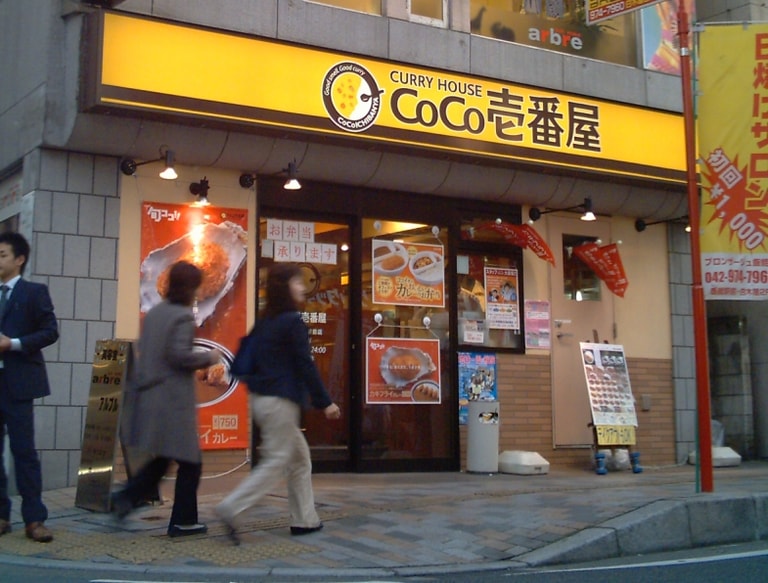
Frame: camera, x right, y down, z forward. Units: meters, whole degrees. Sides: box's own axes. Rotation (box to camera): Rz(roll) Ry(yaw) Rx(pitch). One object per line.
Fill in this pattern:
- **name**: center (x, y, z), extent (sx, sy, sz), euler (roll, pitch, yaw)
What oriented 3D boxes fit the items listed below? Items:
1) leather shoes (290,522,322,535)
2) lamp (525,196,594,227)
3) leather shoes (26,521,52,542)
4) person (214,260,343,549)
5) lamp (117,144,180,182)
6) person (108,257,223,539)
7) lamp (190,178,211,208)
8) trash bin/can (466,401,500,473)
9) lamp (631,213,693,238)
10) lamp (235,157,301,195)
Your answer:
- **leather shoes**: center (-0.649, 2.012, 6.553), extent (0.258, 0.115, 0.088), euler (0, -4, -4)
- **lamp**: center (2.658, -1.218, 11.802), extent (1.103, 0.414, 0.407), euler (-9, -9, 35)
- **leather shoes**: center (-2.781, 1.933, 6.249), extent (0.299, 0.122, 0.105), euler (-2, 12, 29)
- **person**: center (-0.880, 0.899, 6.358), extent (0.990, 2.260, 0.529), euler (1, -7, -24)
- **lamp**: center (-2.691, -1.489, 9.347), extent (0.737, 0.364, 0.493), euler (-4, -7, 23)
- **person**: center (-1.690, 0.874, 6.151), extent (0.758, 2.202, 0.608), euler (0, -7, -12)
- **lamp**: center (-2.251, -1.224, 9.611), extent (0.264, 0.337, 0.224), euler (1, -7, -22)
- **trash bin/can**: center (1.334, 1.993, 10.558), extent (0.432, 0.984, 0.295), euler (-2, -6, 3)
- **lamp**: center (4.350, -1.045, 12.356), extent (0.804, 0.454, 0.479), euler (-7, -13, 41)
- **lamp**: center (-1.379, -1.435, 10.017), extent (0.808, 0.376, 0.589), euler (-4, -6, 18)
